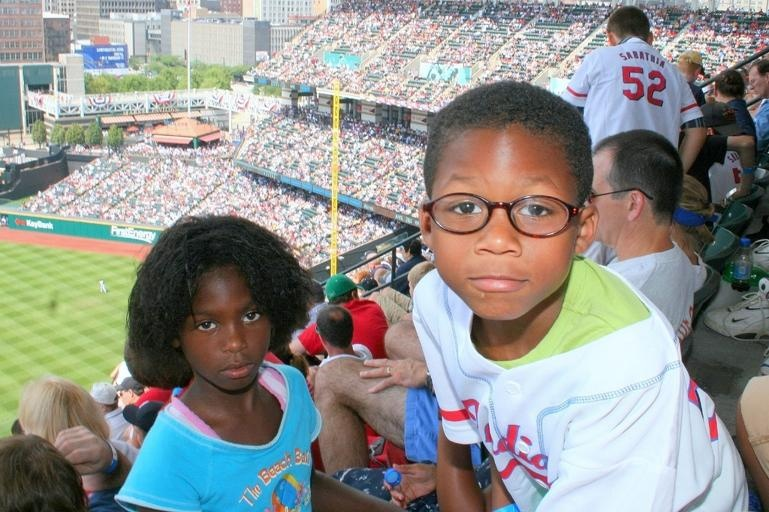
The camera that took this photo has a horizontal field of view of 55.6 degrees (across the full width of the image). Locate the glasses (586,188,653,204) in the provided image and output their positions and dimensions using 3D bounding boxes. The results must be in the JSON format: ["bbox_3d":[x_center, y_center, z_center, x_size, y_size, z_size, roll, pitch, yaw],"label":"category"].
[{"bbox_3d":[1.332,-0.344,4.098,0.335,0.091,0.075,6,9,17],"label":"glasses"}]

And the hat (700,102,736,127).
[{"bbox_3d":[3.662,-1.527,7.989,0.421,0.285,0.249,2,8,-9],"label":"hat"}]

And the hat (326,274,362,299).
[{"bbox_3d":[-0.434,0.337,7.308,0.285,0.280,0.336,1,9,-16],"label":"hat"}]
